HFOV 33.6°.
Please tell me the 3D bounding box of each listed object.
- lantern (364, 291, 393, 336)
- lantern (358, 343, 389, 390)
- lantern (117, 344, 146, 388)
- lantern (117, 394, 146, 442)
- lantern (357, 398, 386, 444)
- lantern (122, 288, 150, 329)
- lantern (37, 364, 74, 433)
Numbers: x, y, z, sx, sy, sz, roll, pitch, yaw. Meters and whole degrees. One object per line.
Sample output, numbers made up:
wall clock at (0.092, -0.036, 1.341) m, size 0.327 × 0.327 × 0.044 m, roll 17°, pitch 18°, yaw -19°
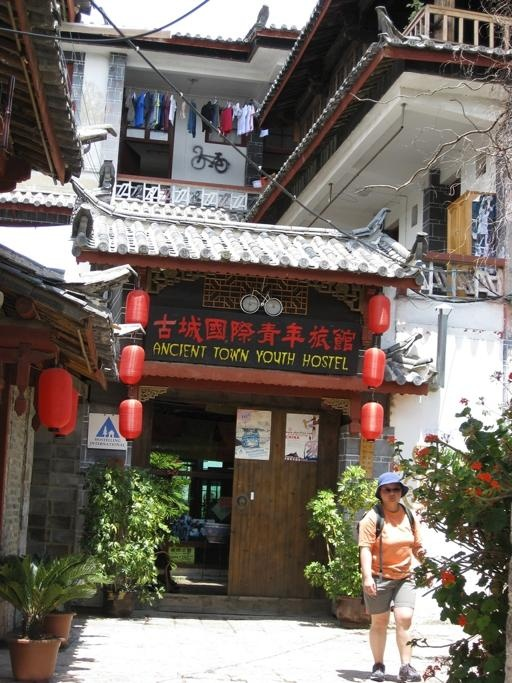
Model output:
lantern at (1.404, -0.320, 9.687) m, size 0.227 × 0.410 × 0.288 m, roll 7°, pitch -13°, yaw -18°
lantern at (1.313, 0.285, 9.431) m, size 0.220 × 0.419 × 0.231 m, roll 1°, pitch -13°, yaw 12°
lantern at (-1.333, 0.240, 8.994) m, size 0.242 × 0.409 × 0.202 m, roll 5°, pitch -13°, yaw -9°
lantern at (-1.341, 0.827, 9.103) m, size 0.270 × 0.413 × 0.209 m, roll 8°, pitch -13°, yaw -23°
lantern at (1.297, 0.878, 9.478) m, size 0.225 × 0.419 × 0.222 m, roll 1°, pitch -13°, yaw 11°
lantern at (-1.266, -0.357, 9.072) m, size 0.176 × 0.373 × 0.277 m, roll -6°, pitch -15°, yaw 37°
lantern at (-1.430, 0.414, 5.972) m, size 0.227 × 0.398 × 0.239 m, roll 1°, pitch 4°, yaw -18°
